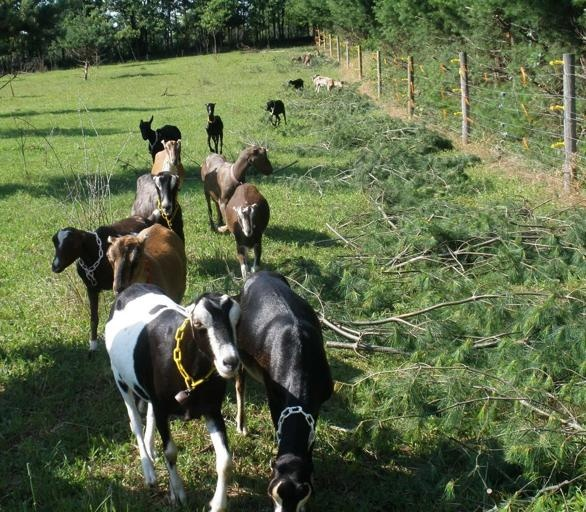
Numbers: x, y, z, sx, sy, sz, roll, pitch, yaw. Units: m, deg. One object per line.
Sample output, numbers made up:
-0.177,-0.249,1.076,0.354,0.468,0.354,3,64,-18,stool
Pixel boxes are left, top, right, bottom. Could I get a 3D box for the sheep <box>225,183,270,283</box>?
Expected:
-0.752,-0.434,12.426,0.734,1.382,1.380,-5,13,-9,sheep
